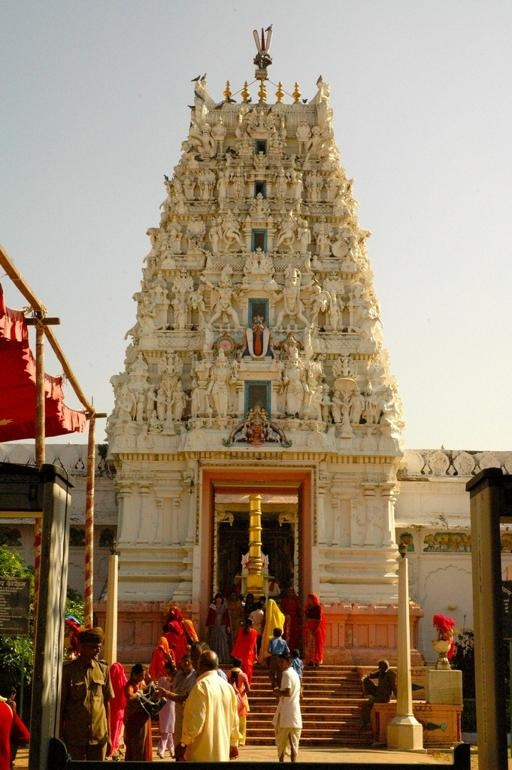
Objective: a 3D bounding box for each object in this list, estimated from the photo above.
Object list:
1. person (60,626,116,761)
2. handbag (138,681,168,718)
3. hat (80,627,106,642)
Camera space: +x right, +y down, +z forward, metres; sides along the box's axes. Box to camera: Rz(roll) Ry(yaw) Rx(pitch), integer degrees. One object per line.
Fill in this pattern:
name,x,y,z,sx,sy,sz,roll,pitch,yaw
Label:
person,-1.348,2.430,8.954,0.396,0.990,0.601,2,-16,-8
handbag,-0.953,2.827,10.209,0.098,0.294,0.268,-40,-1,21
hat,-1.298,1.960,8.936,0.200,0.088,0.157,4,-7,-5
